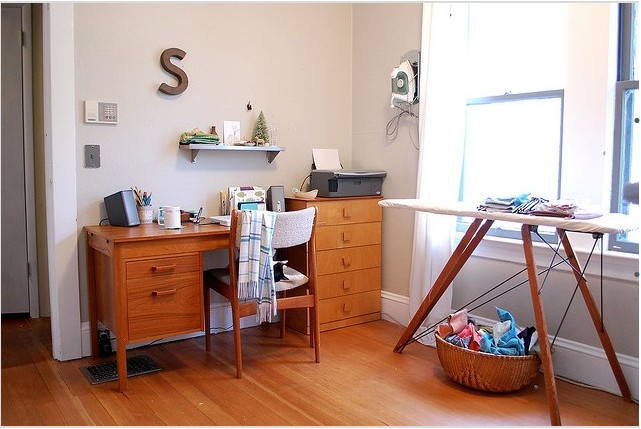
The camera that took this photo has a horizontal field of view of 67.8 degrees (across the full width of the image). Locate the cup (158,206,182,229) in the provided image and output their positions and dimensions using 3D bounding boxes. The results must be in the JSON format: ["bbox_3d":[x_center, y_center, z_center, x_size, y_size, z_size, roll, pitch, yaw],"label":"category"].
[{"bbox_3d":[-1.117,0.024,3.573,0.223,0.217,0.149,1,0,-8],"label":"cup"}]

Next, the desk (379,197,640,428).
[{"bbox_3d":[1.324,0.564,3.337,1.482,1.284,0.818,10,16,44],"label":"desk"}]

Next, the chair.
[{"bbox_3d":[-0.470,0.521,3.718,0.774,1.144,0.825,-1,4,-21],"label":"chair"}]

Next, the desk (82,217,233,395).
[{"bbox_3d":[-1.137,0.600,3.731,1.146,1.026,0.852,-5,9,-41],"label":"desk"}]

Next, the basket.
[{"bbox_3d":[1.163,0.965,3.199,0.430,0.169,0.421,1,-1,-21],"label":"basket"}]
